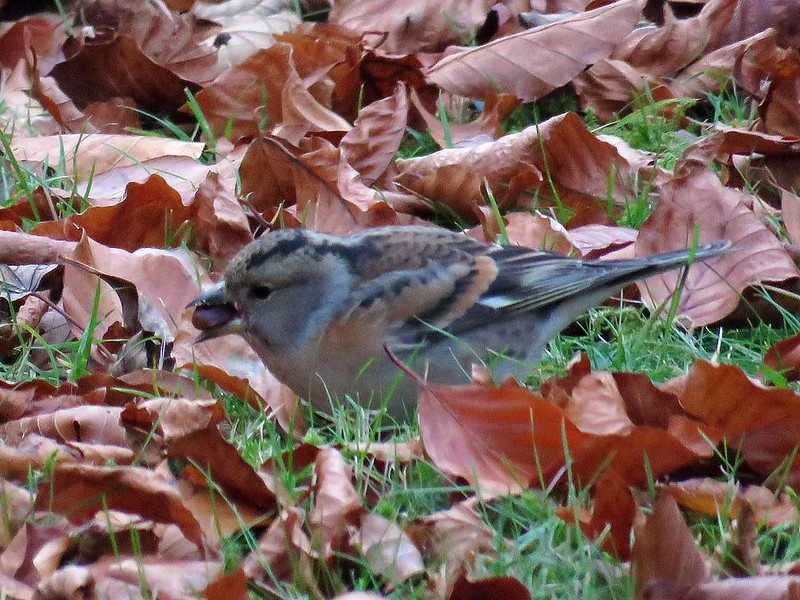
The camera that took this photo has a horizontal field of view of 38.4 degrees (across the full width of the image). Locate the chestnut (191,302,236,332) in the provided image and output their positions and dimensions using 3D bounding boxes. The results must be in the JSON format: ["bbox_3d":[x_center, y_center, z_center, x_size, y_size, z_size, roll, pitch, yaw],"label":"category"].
[{"bbox_3d":[-0.616,0.057,3.843,0.114,0.090,0.066,-7,82,-14],"label":"chestnut"}]
